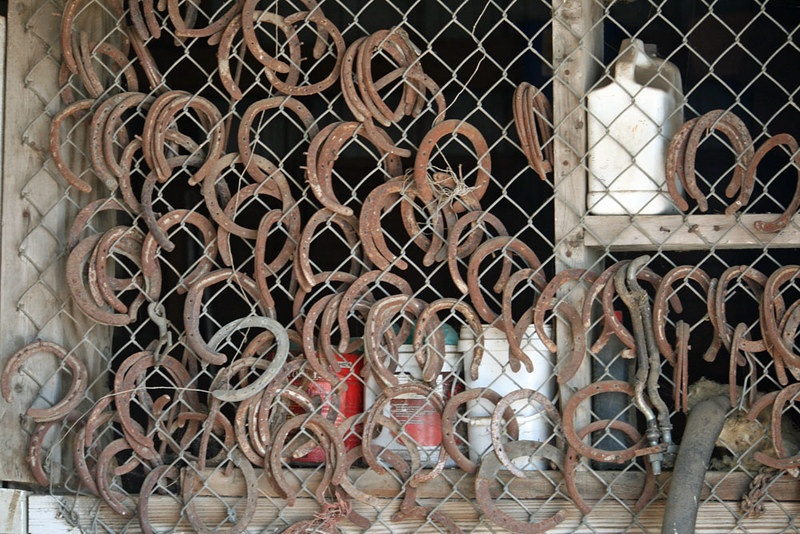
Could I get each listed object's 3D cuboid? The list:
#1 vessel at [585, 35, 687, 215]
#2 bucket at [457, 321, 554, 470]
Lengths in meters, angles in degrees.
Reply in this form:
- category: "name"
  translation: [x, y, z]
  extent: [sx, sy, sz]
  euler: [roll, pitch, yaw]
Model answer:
- category: "vessel"
  translation: [0.823, -0.482, 5.730]
  extent: [0.343, 0.591, 0.305]
  euler: [2, -25, 2]
- category: "bucket"
  translation: [0.371, 0.447, 5.702]
  extent: [0.330, 0.476, 0.255]
  euler: [0, -25, 5]
